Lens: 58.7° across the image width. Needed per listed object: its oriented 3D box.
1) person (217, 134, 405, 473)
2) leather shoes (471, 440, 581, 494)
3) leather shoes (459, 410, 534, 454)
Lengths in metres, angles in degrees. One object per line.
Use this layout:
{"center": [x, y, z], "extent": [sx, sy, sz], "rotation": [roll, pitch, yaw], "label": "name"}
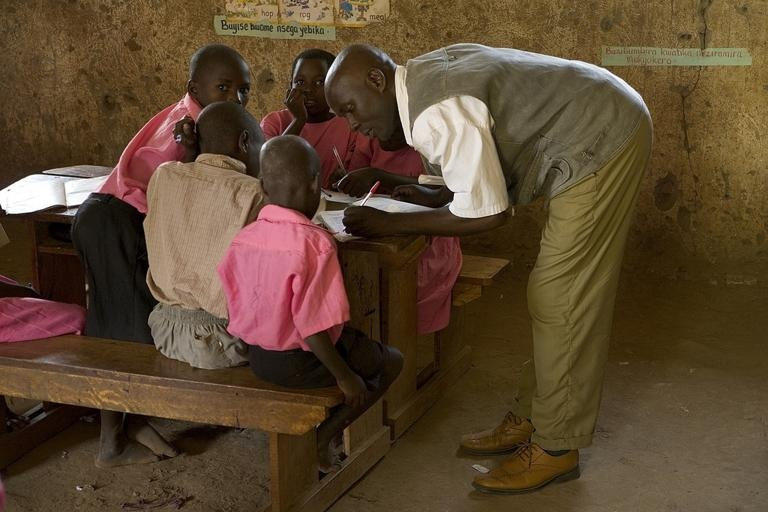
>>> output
{"center": [-0.330, 0.286, 2.987], "extent": [0.670, 1.588, 0.453], "rotation": [6, 17, 15], "label": "person"}
{"center": [0.685, 1.015, 3.409], "extent": [0.579, 0.244, 0.214], "rotation": [-7, 10, -3], "label": "leather shoes"}
{"center": [0.595, 0.920, 3.588], "extent": [0.471, 0.175, 0.165], "rotation": [-1, 12, 0], "label": "leather shoes"}
